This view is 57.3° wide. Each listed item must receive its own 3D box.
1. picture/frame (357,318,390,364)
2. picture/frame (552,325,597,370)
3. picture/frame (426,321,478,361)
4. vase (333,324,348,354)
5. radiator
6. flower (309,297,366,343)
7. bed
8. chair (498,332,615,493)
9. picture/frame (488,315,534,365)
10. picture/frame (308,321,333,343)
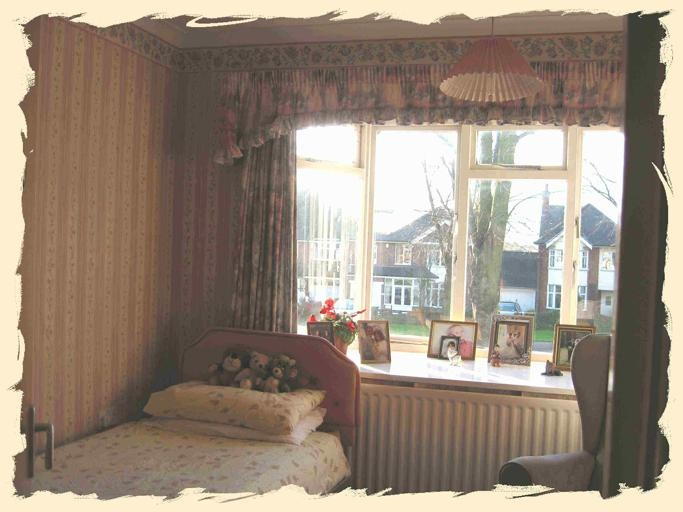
[{"bbox_3d":[0.203,0.546,3.933,0.226,0.319,0.031,3,-20,-9],"label":"picture/frame"},{"bbox_3d":[1.291,0.514,3.440,0.257,0.347,0.027,2,-16,9],"label":"picture/frame"},{"bbox_3d":[0.712,0.547,3.969,0.233,0.215,0.017,-4,-26,21],"label":"picture/frame"},{"bbox_3d":[-0.009,0.534,3.901,0.126,0.151,0.136,0,-4,0],"label":"vase"},{"bbox_3d":[0.734,0.997,3.447,0.897,0.499,0.063,1,-2,11],"label":"radiator"},{"bbox_3d":[-0.008,0.453,4.006,0.370,0.233,0.310,-3,29,-39],"label":"flower"},{"bbox_3d":[-0.700,0.823,3.216,1.444,0.661,1.250,4,1,10],"label":"bed"},{"bbox_3d":[1.059,0.742,2.946,0.589,0.770,0.297,3,1,-39],"label":"chair"},{"bbox_3d":[1.060,0.530,3.882,0.259,0.356,0.036,4,-8,16],"label":"picture/frame"},{"bbox_3d":[-0.131,0.477,3.841,0.116,0.126,0.012,0,-5,-1],"label":"picture/frame"}]
